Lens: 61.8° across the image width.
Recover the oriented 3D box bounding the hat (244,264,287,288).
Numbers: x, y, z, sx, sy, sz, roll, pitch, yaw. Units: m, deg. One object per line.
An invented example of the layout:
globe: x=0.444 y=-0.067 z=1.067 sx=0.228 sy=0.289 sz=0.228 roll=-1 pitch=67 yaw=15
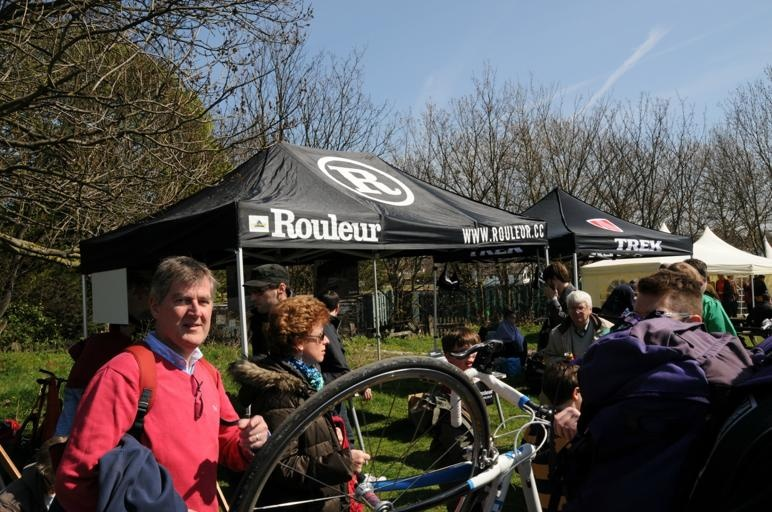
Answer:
hat: x=-1.149 y=0.196 z=6.372 sx=0.303 sy=0.158 sz=0.226 roll=1 pitch=-2 yaw=-19

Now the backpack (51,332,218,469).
backpack: x=-1.504 y=0.936 z=4.169 sx=1.061 sy=0.865 sz=0.246 roll=0 pitch=-5 yaw=-30
